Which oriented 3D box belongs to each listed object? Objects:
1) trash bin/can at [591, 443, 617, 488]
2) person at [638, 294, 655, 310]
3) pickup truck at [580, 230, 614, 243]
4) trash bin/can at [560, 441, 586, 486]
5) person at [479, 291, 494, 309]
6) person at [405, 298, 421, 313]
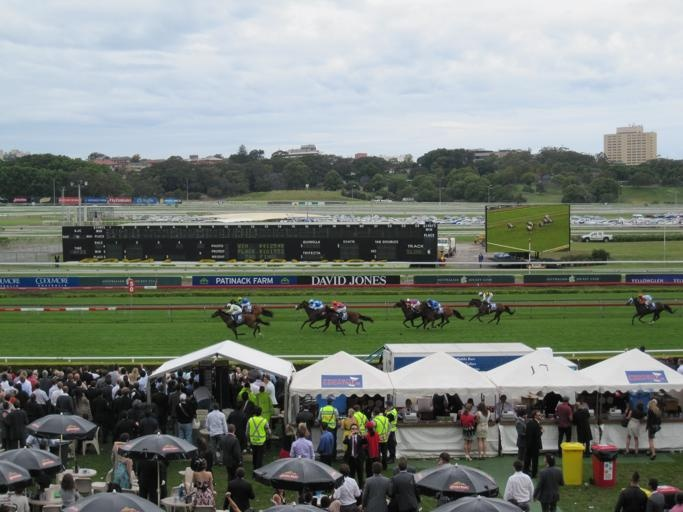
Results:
[{"bbox_3d":[11.202,8.851,68.704,1.117,1.737,0.729,-2,2,1],"label":"trash bin/can"},{"bbox_3d":[15.750,2.337,83.039,0.781,0.733,0.351,-2,2,-6],"label":"person"},{"bbox_3d":[18.642,-1.332,119.914,1.818,0.762,2.955,0,2,43],"label":"pickup truck"},{"bbox_3d":[9.882,8.777,68.888,0.916,1.767,0.847,-2,2,6],"label":"trash bin/can"},{"bbox_3d":[7.545,2.252,83.671,0.686,0.823,1.585,-2,2,5],"label":"person"},{"bbox_3d":[3.689,2.533,82.401,0.748,0.583,1.258,-2,2,1],"label":"person"}]
